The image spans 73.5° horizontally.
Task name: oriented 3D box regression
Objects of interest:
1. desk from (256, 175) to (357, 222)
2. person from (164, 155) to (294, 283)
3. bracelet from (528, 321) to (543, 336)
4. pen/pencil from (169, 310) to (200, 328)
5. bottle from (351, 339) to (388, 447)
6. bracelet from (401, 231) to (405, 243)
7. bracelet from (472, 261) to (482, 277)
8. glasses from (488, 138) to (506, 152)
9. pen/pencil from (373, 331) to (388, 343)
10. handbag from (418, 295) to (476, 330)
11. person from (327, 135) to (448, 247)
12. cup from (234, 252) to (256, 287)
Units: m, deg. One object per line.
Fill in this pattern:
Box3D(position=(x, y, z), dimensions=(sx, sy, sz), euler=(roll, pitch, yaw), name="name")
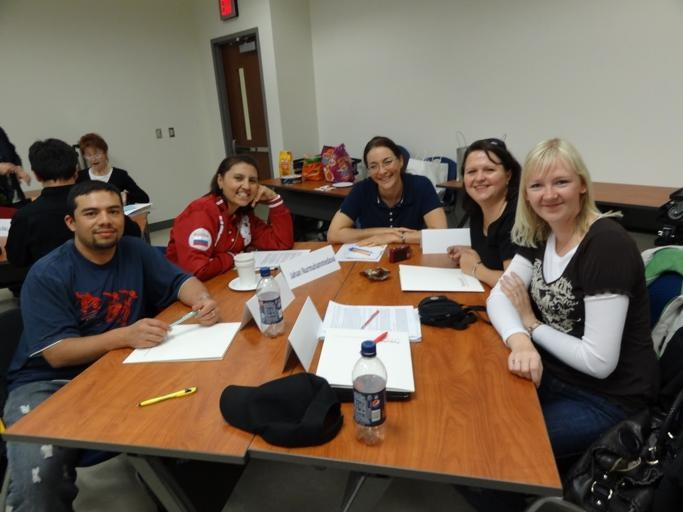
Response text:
Box3D(position=(-0.322, -0.597, 4.783), dimensions=(0.769, 0.414, 0.450), euler=(11, 37, 21), name="desk")
Box3D(position=(-0.666, -0.148, 2.831), dimensions=(0.648, 0.888, 0.562), euler=(2, 5, -29), name="person")
Box3D(position=(0.801, 0.290, 1.889), dimensions=(0.048, 0.060, 0.057), euler=(2, 1, 13), name="bracelet")
Box3D(position=(-0.709, 0.286, 2.077), dimensions=(0.107, 0.023, 0.017), euler=(-34, 68, -29), name="pen/pencil")
Box3D(position=(0.091, 0.417, 1.486), dimensions=(0.121, 0.299, 0.214), euler=(-6, 21, 4), name="bottle")
Box3D(position=(0.398, -0.124, 2.906), dimensions=(0.016, 0.050, 0.035), euler=(-9, 3, 9), name="bracelet")
Box3D(position=(0.689, 0.064, 2.332), dimensions=(0.028, 0.062, 0.050), euler=(7, -18, 42), name="bracelet")
Box3D(position=(0.826, -0.611, 2.446), dimensions=(0.077, 0.042, 0.100), euler=(10, 22, -28), name="glasses")
Box3D(position=(0.159, 0.322, 1.816), dimensions=(0.021, 0.026, 0.094), euler=(32, 31, 25), name="pen/pencil")
Box3D(position=(0.456, 0.246, 1.976), dimensions=(0.149, 0.062, 0.159), euler=(2, 14, 6), name="handbag")
Box3D(position=(0.314, -0.248, 3.224), dimensions=(0.766, 1.152, 0.603), euler=(-3, 19, 10), name="person")
Box3D(position=(-0.491, 0.071, 2.354), dimensions=(0.102, 0.159, 0.109), euler=(-3, 11, 1), name="cup")
